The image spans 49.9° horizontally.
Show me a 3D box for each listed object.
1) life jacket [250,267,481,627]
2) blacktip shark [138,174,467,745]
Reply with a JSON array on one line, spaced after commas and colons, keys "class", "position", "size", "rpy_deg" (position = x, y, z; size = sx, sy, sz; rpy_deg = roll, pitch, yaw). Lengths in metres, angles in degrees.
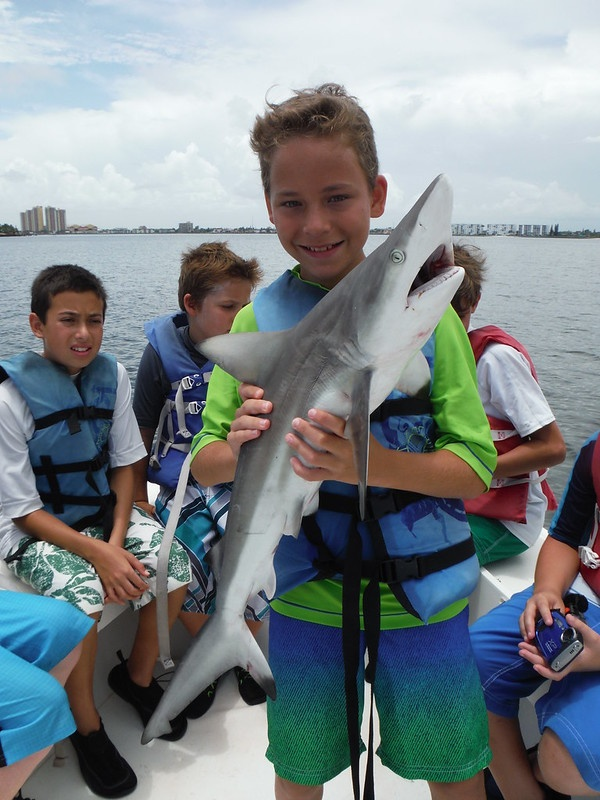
[{"class": "life jacket", "position": [0.184, 0.025, 1.864], "size": [0.624, 1.121, 0.402], "rpy_deg": [1, 7, -13]}, {"class": "blacktip shark", "position": [0.024, 0.114, 1.719], "size": [0.627, 1.392, 0.634], "rpy_deg": [29, 11, 24]}]
